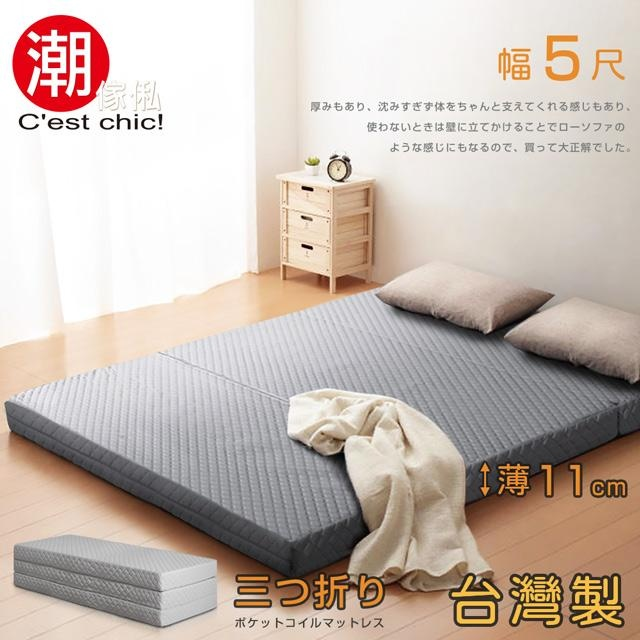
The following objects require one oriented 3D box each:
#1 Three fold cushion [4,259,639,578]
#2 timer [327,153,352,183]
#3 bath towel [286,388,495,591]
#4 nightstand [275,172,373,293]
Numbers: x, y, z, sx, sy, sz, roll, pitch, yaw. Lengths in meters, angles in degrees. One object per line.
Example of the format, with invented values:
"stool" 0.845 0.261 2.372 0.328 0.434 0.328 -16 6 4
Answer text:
"Three fold cushion" 0.039 0.362 2.377 1.511 0.139 1.183 -13 22 -43
"timer" 0.146 -1.146 4.217 0.157 0.202 0.196 -9 19 -24
"bath towel" 0.200 0.481 1.814 0.505 0.154 0.856 -2 26 -14
"nightstand" 0.052 -0.692 4.318 0.730 0.879 0.559 22 31 39
